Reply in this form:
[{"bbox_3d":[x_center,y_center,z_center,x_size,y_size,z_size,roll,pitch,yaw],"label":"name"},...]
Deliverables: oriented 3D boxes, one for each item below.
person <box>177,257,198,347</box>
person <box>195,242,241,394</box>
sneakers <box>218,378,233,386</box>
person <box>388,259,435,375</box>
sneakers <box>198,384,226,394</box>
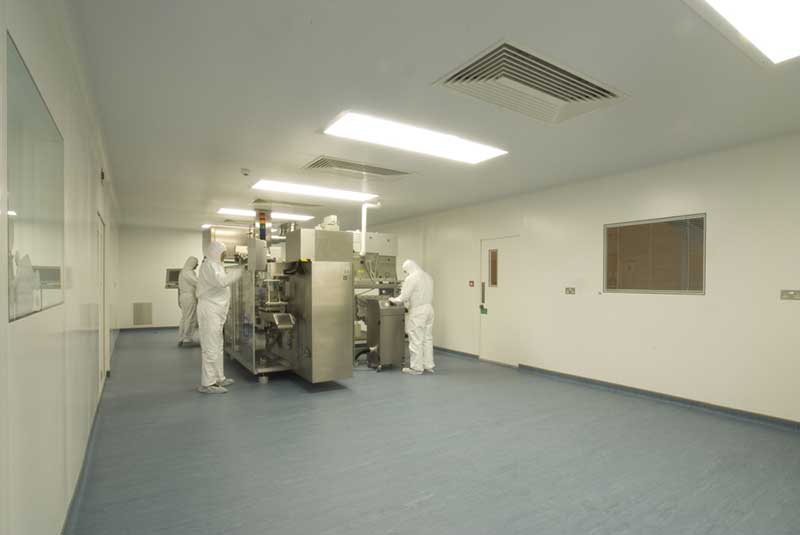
[{"bbox_3d":[-4.093,0.649,10.449,0.418,1.704,0.491,-4,10,-21],"label":"person"},{"bbox_3d":[-2.434,0.663,7.327,0.584,1.988,0.871,-3,10,-16],"label":"person"},{"bbox_3d":[-2.389,1.595,7.478,0.162,0.067,0.088,-2,4,-2],"label":"sneakers"},{"bbox_3d":[0.222,0.818,8.655,0.683,1.792,1.010,0,10,-1],"label":"person"},{"bbox_3d":[-2.464,1.603,7.154,0.397,0.171,0.138,1,-3,-5],"label":"sneakers"}]
